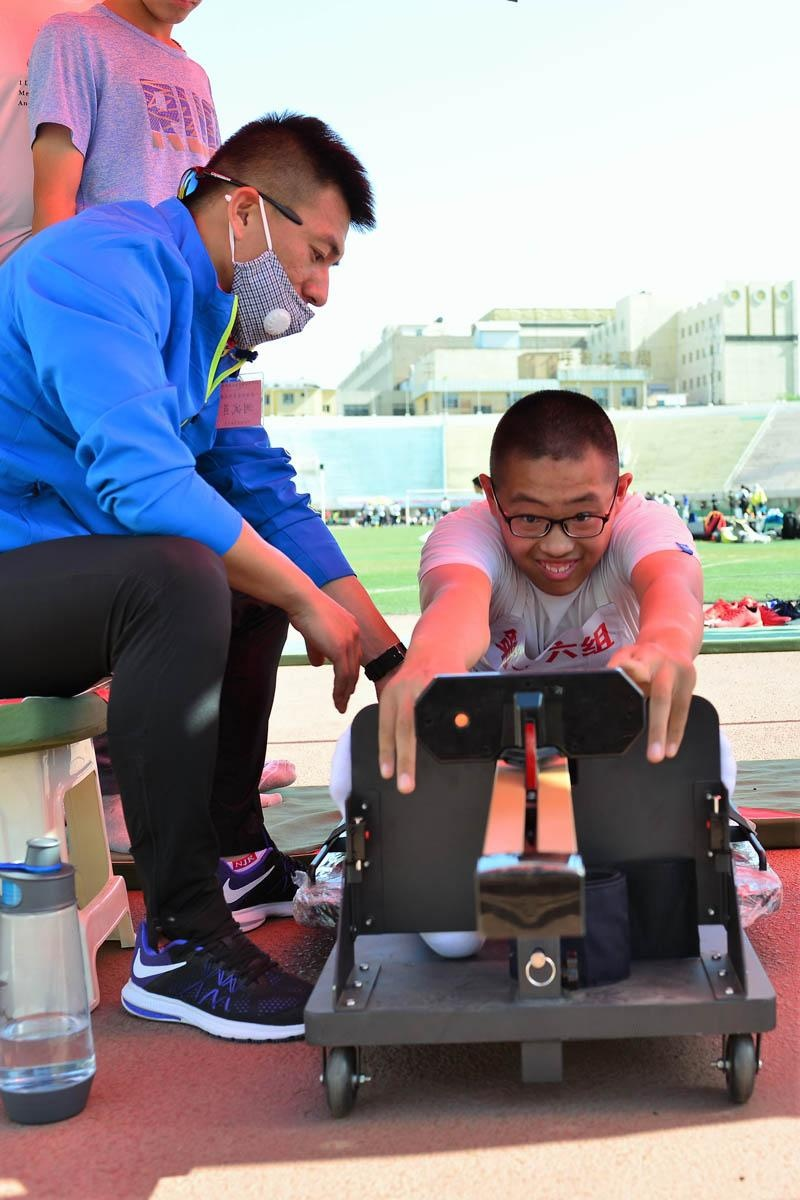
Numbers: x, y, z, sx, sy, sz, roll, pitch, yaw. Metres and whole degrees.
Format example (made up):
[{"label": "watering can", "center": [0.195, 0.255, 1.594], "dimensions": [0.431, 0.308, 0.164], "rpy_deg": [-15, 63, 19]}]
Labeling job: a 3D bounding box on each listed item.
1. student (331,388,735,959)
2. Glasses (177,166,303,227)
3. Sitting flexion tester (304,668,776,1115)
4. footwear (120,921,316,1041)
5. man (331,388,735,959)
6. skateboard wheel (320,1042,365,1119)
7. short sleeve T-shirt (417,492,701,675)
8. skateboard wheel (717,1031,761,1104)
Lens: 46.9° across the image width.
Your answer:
[{"label": "student", "center": [0.202, 0.073, 1.245], "dimensions": [0.511, 0.667, 0.775], "rpy_deg": [1, 10, 8]}, {"label": "Glasses", "center": [-0.211, -0.530, 1.209], "dimensions": [0.132, 0.035, 0.104], "rpy_deg": [14, 6, -24]}, {"label": "Sitting flexion tester", "center": [0.125, 0.231, 0.870], "dimensions": [0.338, 0.282, 0.466], "rpy_deg": [-1, 1, 5]}, {"label": "footwear", "center": [-0.205, 0.405, 1.031], "dimensions": [0.243, 0.106, 0.100], "rpy_deg": [2, 4, 18]}, {"label": "man", "center": [0.197, 0.081, 1.251], "dimensions": [0.508, 0.657, 0.774], "rpy_deg": [1, 13, 9]}, {"label": "skateboard wheel", "center": [-0.052, 0.405, 0.807], "dimensions": [0.034, 0.070, 0.093], "rpy_deg": [-2, -7, -6]}, {"label": "short sleeve T-shirt", "center": [0.222, 0.008, 1.363], "dimensions": [0.384, 0.327, 0.197], "rpy_deg": [-2, 12, 11]}, {"label": "skateboard wheel", "center": [0.288, 0.384, 0.781], "dimensions": [0.033, 0.066, 0.068], "rpy_deg": [-5, -7, 18]}]
